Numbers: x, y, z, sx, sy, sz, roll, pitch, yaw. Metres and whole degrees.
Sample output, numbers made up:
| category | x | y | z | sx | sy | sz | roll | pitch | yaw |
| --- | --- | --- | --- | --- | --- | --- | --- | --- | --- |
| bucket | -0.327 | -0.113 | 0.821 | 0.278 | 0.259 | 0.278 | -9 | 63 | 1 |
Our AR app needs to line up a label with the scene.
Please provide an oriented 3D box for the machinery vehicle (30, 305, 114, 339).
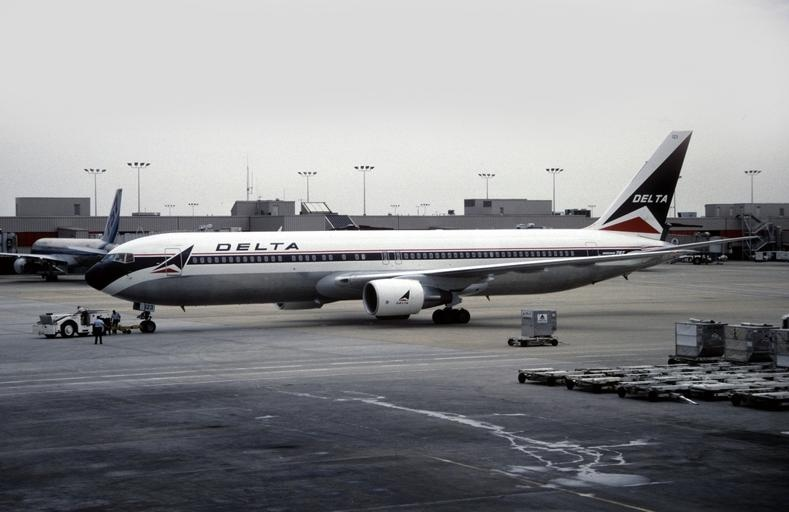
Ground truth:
| category | x | y | z | sx | sy | sz | roll | pitch | yaw |
| --- | --- | --- | --- | --- | --- | --- | --- | --- | --- |
| machinery vehicle | -16.314 | 3.344 | 44.281 | 3.314 | 0.807 | 2.073 | -3 | 5 | -29 |
